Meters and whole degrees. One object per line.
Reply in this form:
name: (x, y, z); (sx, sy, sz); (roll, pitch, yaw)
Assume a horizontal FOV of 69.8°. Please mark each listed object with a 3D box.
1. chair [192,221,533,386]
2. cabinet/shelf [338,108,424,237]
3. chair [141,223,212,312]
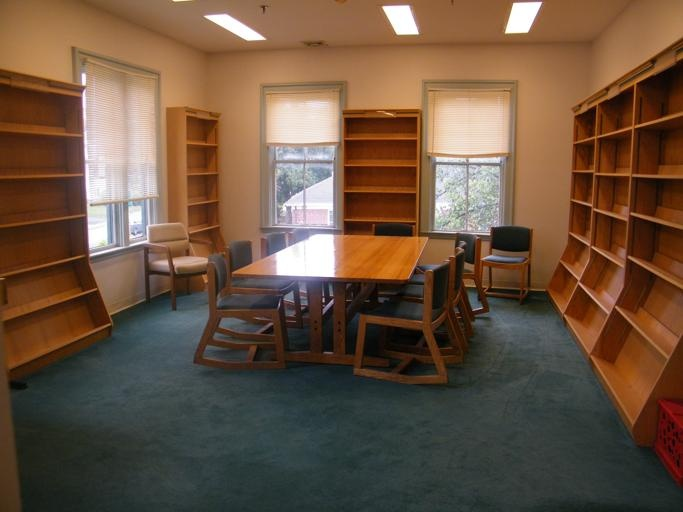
chair: (0.088, 0.403, 4.808); (2.209, 1.038, 1.786); (3, 13, 13)
cabinet/shelf: (0.591, -1.207, 7.156); (1.113, 1.782, 0.422); (2, 13, 12)
chair: (-2.096, 0.092, 6.421); (0.626, 1.002, 0.763); (6, 10, 26)
